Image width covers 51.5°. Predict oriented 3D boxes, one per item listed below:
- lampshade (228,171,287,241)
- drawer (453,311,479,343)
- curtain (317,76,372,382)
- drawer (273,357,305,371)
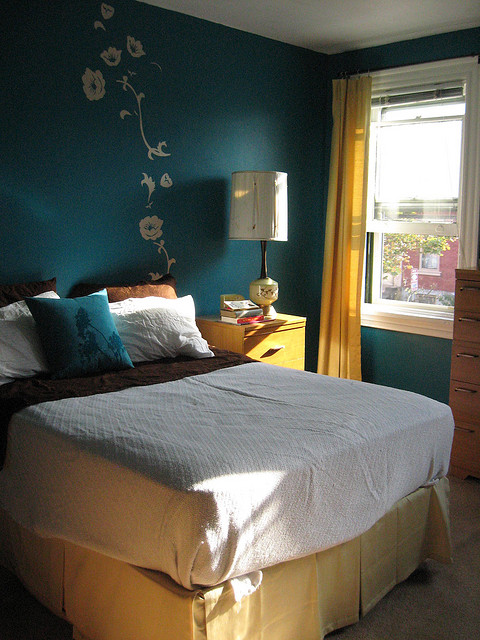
[{"bbox_3d":[0.108,-0.710,3.205,0.367,0.469,0.395,0,6,0],"label":"lampshade"},{"bbox_3d":[1.263,0.035,2.781,0.138,0.144,0.129,-1,3,-39],"label":"drawer"},{"bbox_3d":[0.786,-0.649,3.657,0.327,2.174,0.163,3,7,12],"label":"curtain"},{"bbox_3d":[0.339,0.282,3.246,0.121,0.091,0.137,0,2,15],"label":"drawer"}]
